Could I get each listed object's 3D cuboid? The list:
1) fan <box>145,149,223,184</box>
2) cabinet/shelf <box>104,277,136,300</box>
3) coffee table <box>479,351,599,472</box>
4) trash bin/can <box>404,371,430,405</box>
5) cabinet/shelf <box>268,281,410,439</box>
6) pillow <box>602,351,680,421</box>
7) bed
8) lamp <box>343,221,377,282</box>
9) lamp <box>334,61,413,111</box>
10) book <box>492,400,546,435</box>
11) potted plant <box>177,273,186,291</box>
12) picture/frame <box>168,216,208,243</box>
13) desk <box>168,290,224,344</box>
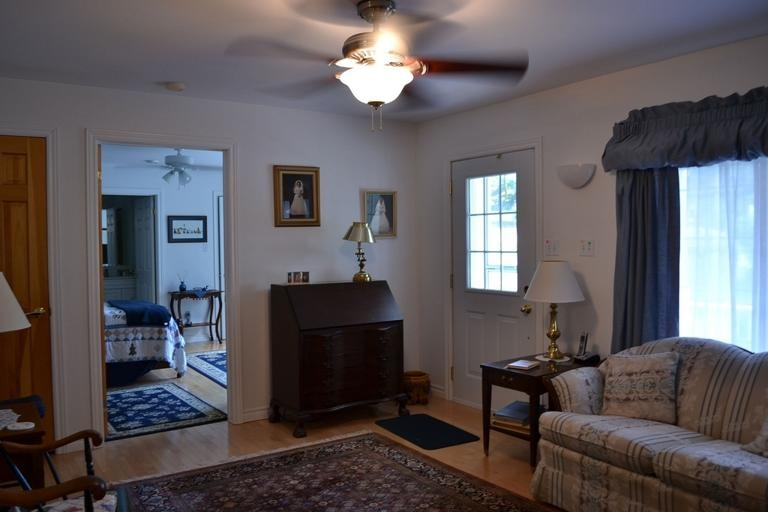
[{"bbox_3d":[-3.023,-1.313,8.426,0.870,0.357,0.859,-1,-8,4],"label":"fan"},{"bbox_3d":[-4.560,0.559,9.834,0.411,0.371,0.198,0,0,-28],"label":"cabinet/shelf"},{"bbox_3d":[1.358,1.096,5.046,1.199,0.957,0.861,-1,1,-40],"label":"coffee table"},{"bbox_3d":[0.357,1.433,6.221,0.322,0.312,0.303,-1,1,-19],"label":"trash bin/can"},{"bbox_3d":[-0.467,0.959,5.692,1.301,1.394,0.644,-4,9,-24],"label":"cabinet/shelf"},{"bbox_3d":[1.929,0.988,4.245,0.462,0.450,0.170,-1,-17,34],"label":"pillow"},{"bbox_3d":[-3.075,1.063,7.204,0.925,0.493,0.930,-1,3,-13],"label":"bed"},{"bbox_3d":[-0.266,-0.053,6.081,0.313,0.618,0.460,-1,8,-4],"label":"lamp"},{"bbox_3d":[-0.052,-1.136,3.810,0.465,0.240,0.150,-1,8,-2],"label":"lamp"},{"bbox_3d":[1.198,1.390,5.005,0.303,0.072,0.313,-1,1,44],"label":"book"},{"bbox_3d":[-3.257,0.431,9.228,0.139,0.267,0.295,-4,8,-19],"label":"potted plant"},{"bbox_3d":[-3.253,-0.439,9.383,0.477,0.339,0.031,1,-3,-34],"label":"picture/frame"},{"bbox_3d":[-3.029,0.965,9.120,0.928,0.992,0.488,0,-2,-35],"label":"desk"}]
